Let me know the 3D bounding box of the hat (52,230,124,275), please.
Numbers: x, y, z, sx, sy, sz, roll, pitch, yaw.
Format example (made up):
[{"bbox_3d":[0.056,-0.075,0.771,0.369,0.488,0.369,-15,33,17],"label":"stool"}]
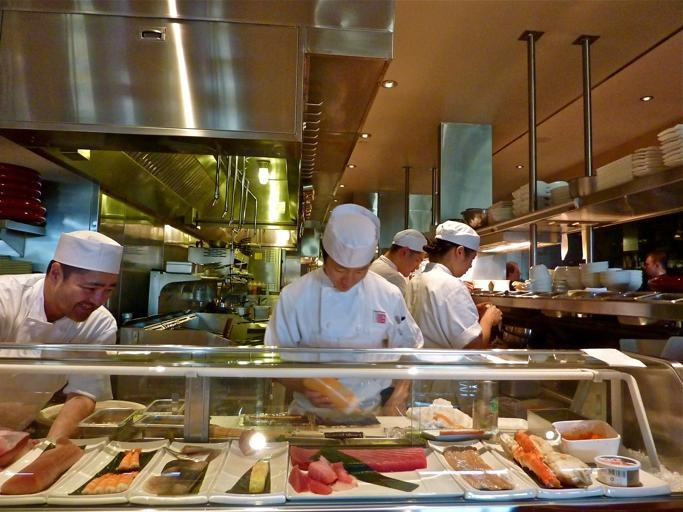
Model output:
[{"bbox_3d":[-1.017,-0.027,2.211,0.230,0.114,0.215,9,9,-36],"label":"hat"}]

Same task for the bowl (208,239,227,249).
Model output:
[{"bbox_3d":[-1.517,-0.163,6.573,0.253,0.088,0.148,1,-12,6],"label":"bowl"}]

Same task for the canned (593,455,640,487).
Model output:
[{"bbox_3d":[0.838,0.642,1.647,0.091,0.040,0.093,0,0,5],"label":"canned"}]

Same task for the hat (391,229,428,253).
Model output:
[{"bbox_3d":[0.489,-0.110,3.752,0.156,0.106,0.200,7,9,14],"label":"hat"}]

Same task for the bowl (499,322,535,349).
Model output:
[{"bbox_3d":[1.030,0.482,3.250,0.233,0.176,0.208,0,1,-4],"label":"bowl"}]

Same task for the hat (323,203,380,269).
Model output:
[{"bbox_3d":[0.042,-0.093,2.387,0.266,0.295,0.121,1,-39,-9],"label":"hat"}]

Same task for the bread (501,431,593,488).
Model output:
[{"bbox_3d":[0.630,0.615,1.681,0.127,0.042,0.182,-2,15,-32],"label":"bread"}]

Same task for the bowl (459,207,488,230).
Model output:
[{"bbox_3d":[1.067,-0.311,4.388,0.233,0.161,0.198,-4,7,-40],"label":"bowl"}]

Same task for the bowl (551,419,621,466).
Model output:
[{"bbox_3d":[0.791,0.580,1.709,0.138,0.058,0.168,0,-8,-1],"label":"bowl"}]

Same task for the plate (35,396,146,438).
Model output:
[{"bbox_3d":[-0.806,0.515,1.745,0.247,0.035,0.158,1,2,-9],"label":"plate"}]

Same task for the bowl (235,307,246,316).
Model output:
[{"bbox_3d":[-1.192,0.645,6.481,0.115,0.122,0.141,1,2,-7],"label":"bowl"}]

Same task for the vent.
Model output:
[{"bbox_3d":[-1.410,-0.626,4.386,0.121,0.176,0.771,29,-7,14],"label":"vent"}]

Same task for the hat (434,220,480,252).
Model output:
[{"bbox_3d":[0.678,-0.124,3.204,0.257,0.109,0.169,11,7,16],"label":"hat"}]

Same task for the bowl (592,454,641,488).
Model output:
[{"bbox_3d":[0.831,0.650,1.656,0.099,0.039,0.087,-2,1,-31],"label":"bowl"}]

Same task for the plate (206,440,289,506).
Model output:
[{"bbox_3d":[-0.268,0.647,1.647,0.219,0.081,0.234,1,12,-3],"label":"plate"}]

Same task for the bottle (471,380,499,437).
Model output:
[{"bbox_3d":[0.479,0.498,1.797,0.094,0.174,0.037,2,14,2],"label":"bottle"}]

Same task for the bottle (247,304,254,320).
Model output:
[{"bbox_3d":[-1.113,0.689,6.704,0.137,0.172,0.121,1,-4,-8],"label":"bottle"}]
